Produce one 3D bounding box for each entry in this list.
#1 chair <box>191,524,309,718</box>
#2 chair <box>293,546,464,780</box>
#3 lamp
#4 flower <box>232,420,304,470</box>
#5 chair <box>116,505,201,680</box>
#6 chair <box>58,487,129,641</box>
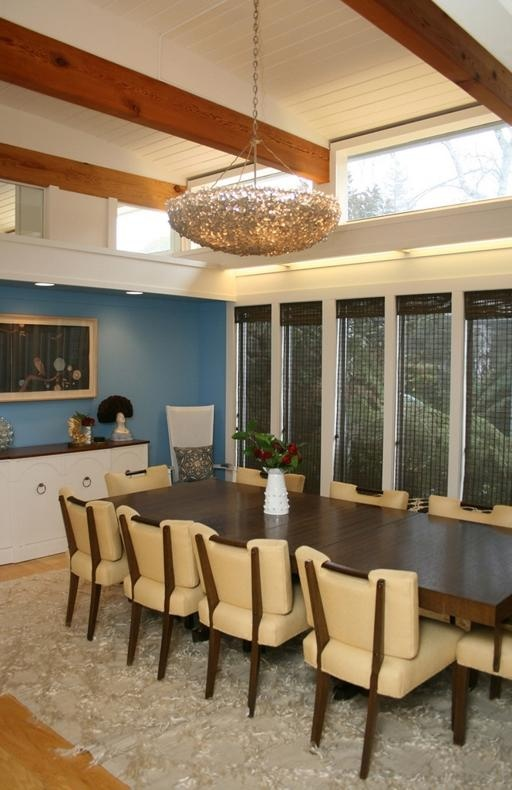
[{"bbox_3d":[-0.004,1.005,2.631,0.460,0.807,0.548,4,8,27],"label":"chair"},{"bbox_3d":[0.471,1.003,2.174,0.529,0.779,0.513,-2,-1,41],"label":"chair"},{"bbox_3d":[-0.088,-1.731,3.816,1.034,1.671,1.696,-1,-1,-9],"label":"lamp"},{"bbox_3d":[0.131,0.415,4.696,0.457,0.334,0.469,-10,28,-39],"label":"flower"},{"bbox_3d":[-0.443,1.019,3.042,0.552,0.857,0.662,4,9,11],"label":"chair"},{"bbox_3d":[-0.898,1.000,3.427,0.519,0.816,0.586,3,5,20],"label":"chair"}]
